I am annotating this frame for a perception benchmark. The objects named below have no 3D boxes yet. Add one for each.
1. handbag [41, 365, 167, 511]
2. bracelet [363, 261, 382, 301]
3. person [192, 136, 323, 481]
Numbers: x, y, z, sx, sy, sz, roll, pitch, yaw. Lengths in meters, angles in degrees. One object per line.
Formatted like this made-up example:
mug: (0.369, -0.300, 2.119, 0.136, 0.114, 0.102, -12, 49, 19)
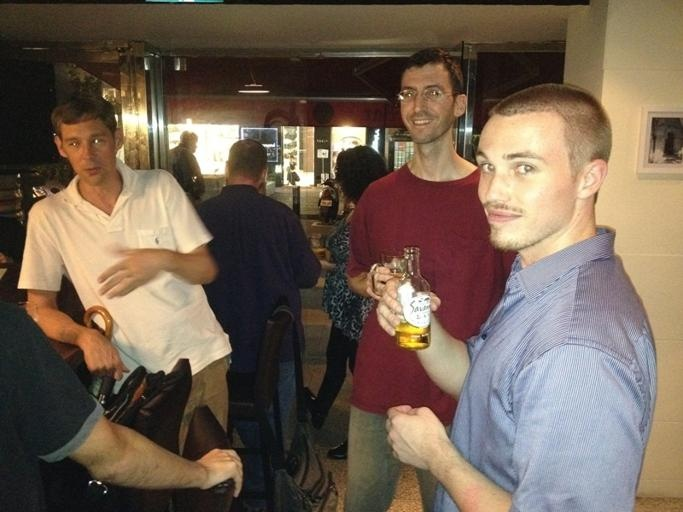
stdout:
handbag: (-0.674, 0.582, 1.815, 0.139, 0.427, 0.432, 9, -11, -3)
bracelet: (0.119, 0.094, 2.188, 0.094, 0.113, 0.118, 2, 6, 0)
person: (-0.512, 0.368, 3.524, 0.792, 2.048, 0.663, 2, 24, -1)
